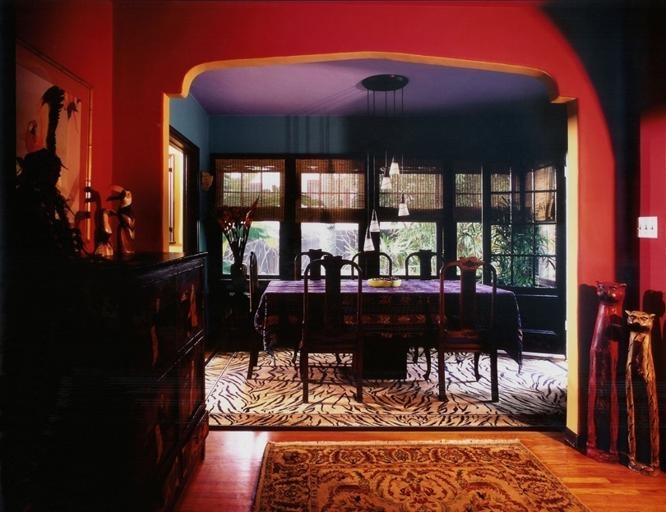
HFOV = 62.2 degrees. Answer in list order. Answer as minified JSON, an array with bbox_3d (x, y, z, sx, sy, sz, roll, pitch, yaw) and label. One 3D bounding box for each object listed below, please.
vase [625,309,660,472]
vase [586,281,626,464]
[{"bbox_3d":[1.888,0.818,3.368,0.216,0.916,0.205,4,11,20],"label":"vase"},{"bbox_3d":[1.748,0.706,3.521,0.224,1.068,0.343,5,12,26],"label":"vase"}]
